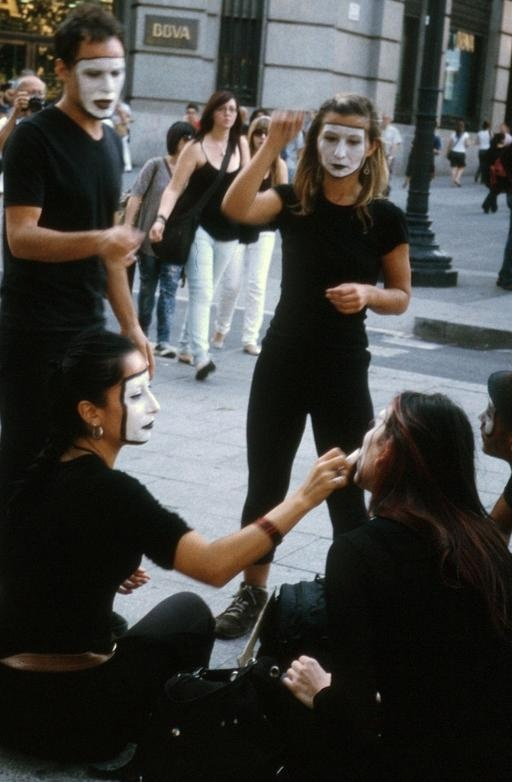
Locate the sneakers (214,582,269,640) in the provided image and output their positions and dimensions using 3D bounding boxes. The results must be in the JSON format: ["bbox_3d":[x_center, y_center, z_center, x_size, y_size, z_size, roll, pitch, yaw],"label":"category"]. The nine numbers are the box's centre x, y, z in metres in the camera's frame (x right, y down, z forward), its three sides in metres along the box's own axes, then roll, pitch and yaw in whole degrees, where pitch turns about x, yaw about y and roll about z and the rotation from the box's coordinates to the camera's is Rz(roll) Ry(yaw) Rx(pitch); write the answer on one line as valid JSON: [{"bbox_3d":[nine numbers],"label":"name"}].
[{"bbox_3d":[-0.035,0.782,2.637,0.101,0.103,0.273,15,22,21],"label":"sneakers"}]

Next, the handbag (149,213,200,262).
[{"bbox_3d":[-0.636,-1.235,5.787,0.199,0.335,0.331,5,22,-38],"label":"handbag"}]

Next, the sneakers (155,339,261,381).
[{"bbox_3d":[-0.426,-0.253,6.089,0.235,0.558,0.174,57,20,22],"label":"sneakers"}]
